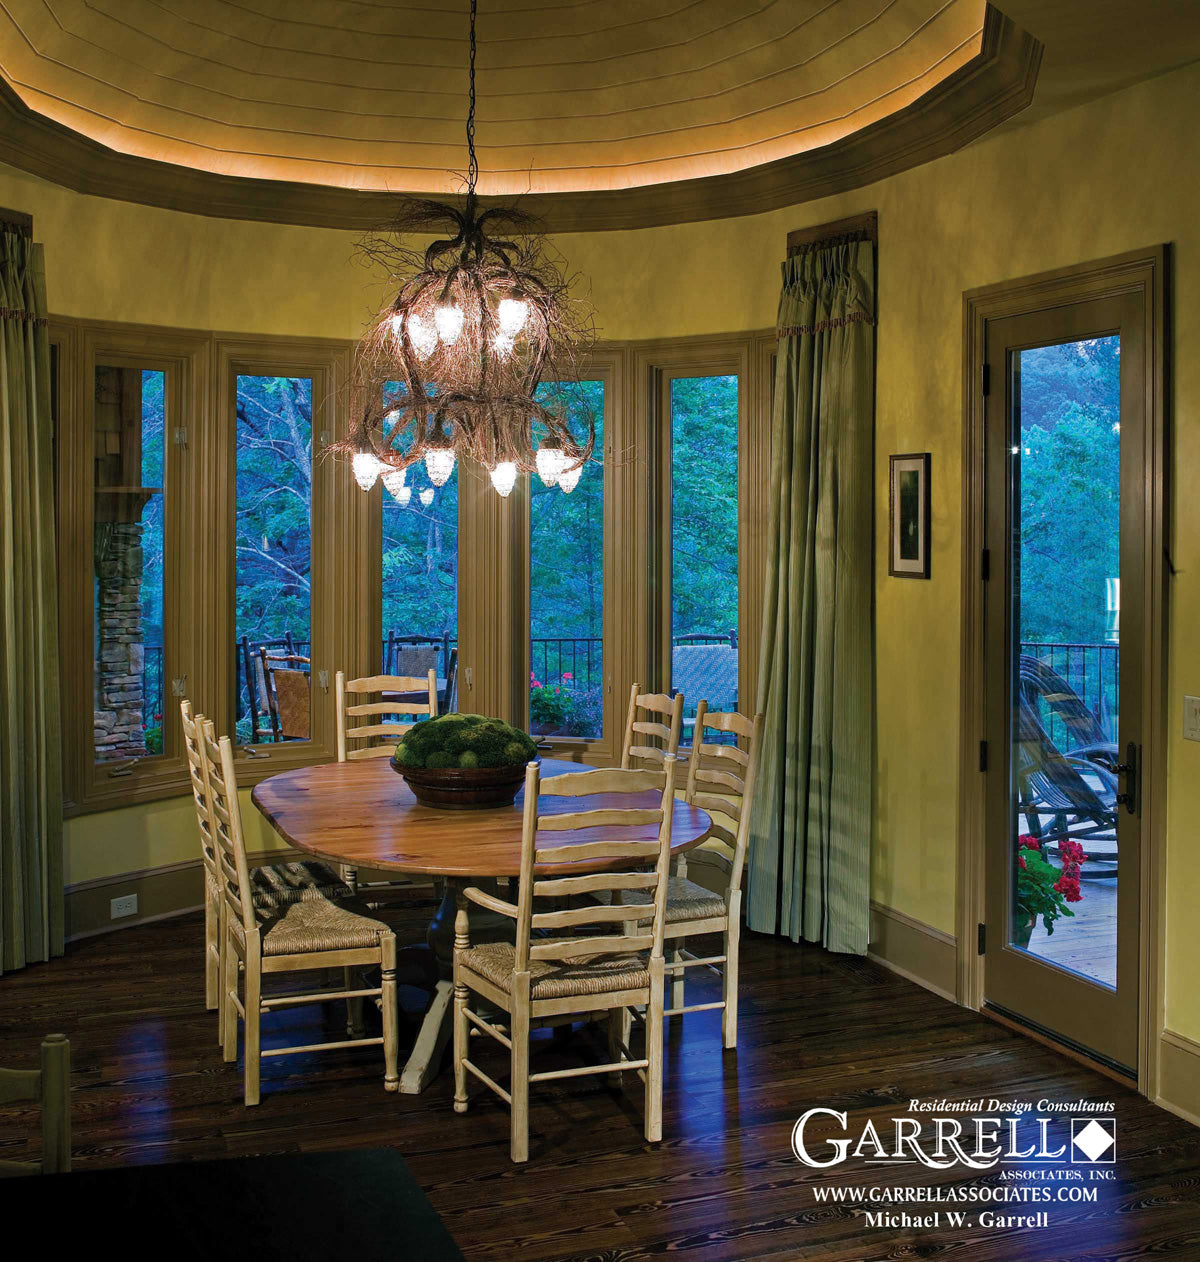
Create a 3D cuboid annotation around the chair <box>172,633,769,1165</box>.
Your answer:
[{"bbox_3d":[-0.178,0.832,3.397,1.307,0.852,1.652,-3,5,-28],"label":"chair"}]

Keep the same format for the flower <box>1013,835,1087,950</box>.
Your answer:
[{"bbox_3d":[1.513,0.864,3.822,0.323,0.335,0.348,1,-2,29],"label":"flower"}]
